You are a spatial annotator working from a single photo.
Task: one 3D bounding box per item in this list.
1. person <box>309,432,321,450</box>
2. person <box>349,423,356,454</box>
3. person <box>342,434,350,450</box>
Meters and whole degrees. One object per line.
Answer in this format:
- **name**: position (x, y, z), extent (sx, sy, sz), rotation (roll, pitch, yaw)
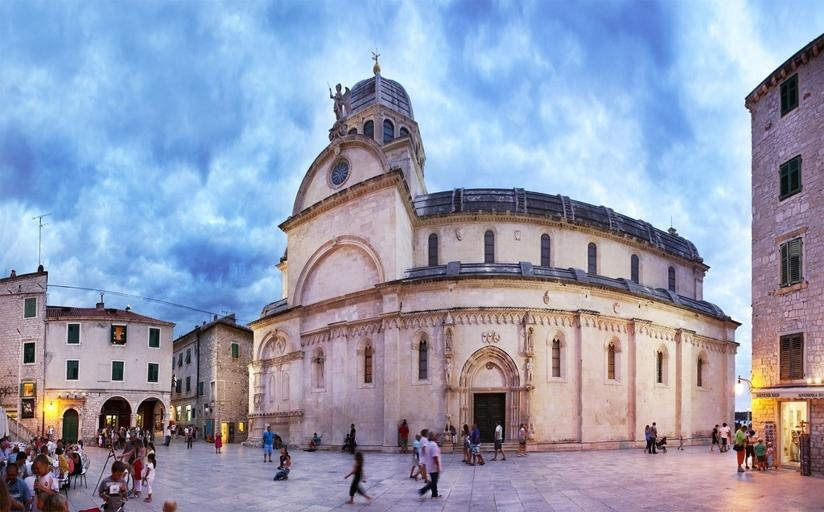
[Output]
- **person**: position (-7.767, 14.726, 63.518), extent (1.049, 0.891, 1.790), rotation (2, 27, 1)
- **person**: position (-4.539, 13.933, 61.397), extent (0.631, 1.936, 1.361), rotation (-1, 1, -5)
- **person**: position (-5.020, 14.426, 61.602), extent (0.650, 0.628, 0.995), rotation (0, -34, -3)
